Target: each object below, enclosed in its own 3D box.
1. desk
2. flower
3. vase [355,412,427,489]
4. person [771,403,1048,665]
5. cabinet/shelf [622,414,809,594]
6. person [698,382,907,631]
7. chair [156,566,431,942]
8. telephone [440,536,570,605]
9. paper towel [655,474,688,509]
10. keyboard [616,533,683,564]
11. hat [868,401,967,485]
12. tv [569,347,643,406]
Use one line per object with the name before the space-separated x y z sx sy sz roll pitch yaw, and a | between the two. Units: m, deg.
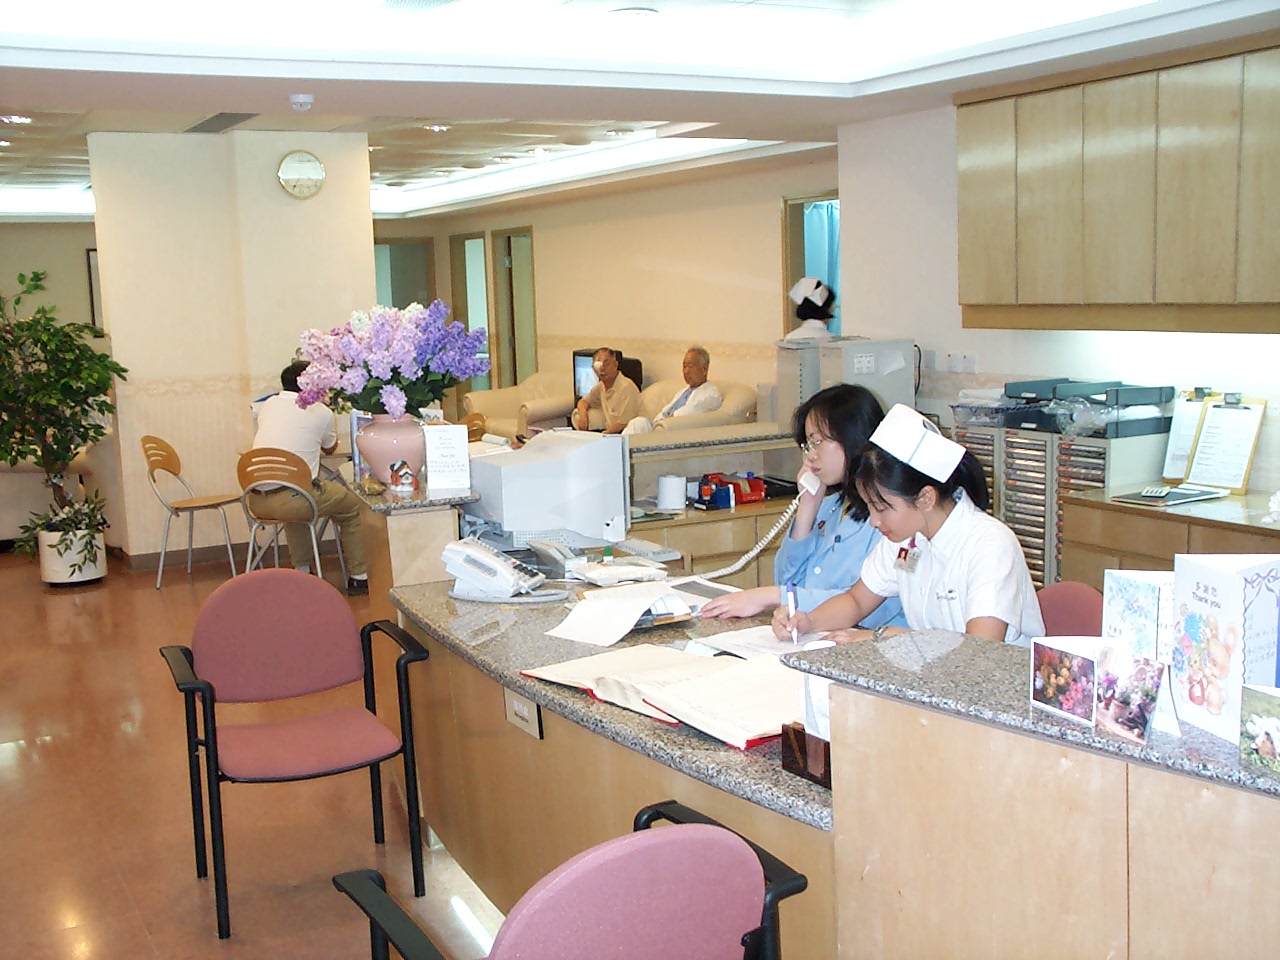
desk | -0.952 0.223 4.097 0.418 0.577 0.584 -6 13 -25
flower | -1.073 -0.533 4.199 0.608 0.430 0.597 -11 10 -30
vase | -1.050 -0.127 4.198 0.325 0.298 0.322 -1 1 -7
person | 0.756 0.142 2.681 0.532 0.741 0.645 -11 15 -42
cabinet/shelf | 0.395 0.134 4.919 0.945 0.861 0.372 -4 5 -29
person | 0.664 0.078 3.352 0.840 0.650 0.707 3 1 -13
chair | -1.194 0.913 3.329 0.786 1.158 0.658 -5 12 -21
telephone | -0.489 0.312 3.297 0.306 0.110 0.233 1 9 18
paper towel | 0.195 0.081 5.523 0.146 0.168 0.187 -1 -2 37
keyboard | 0.048 0.293 3.845 0.254 0.065 0.433 -2 11 -9
hat | 0.763 -0.097 2.536 0.313 0.218 0.124 -7 13 -28
tv | -0.378 -1.223 10.779 0.822 0.447 0.774 -2 -1 -19
